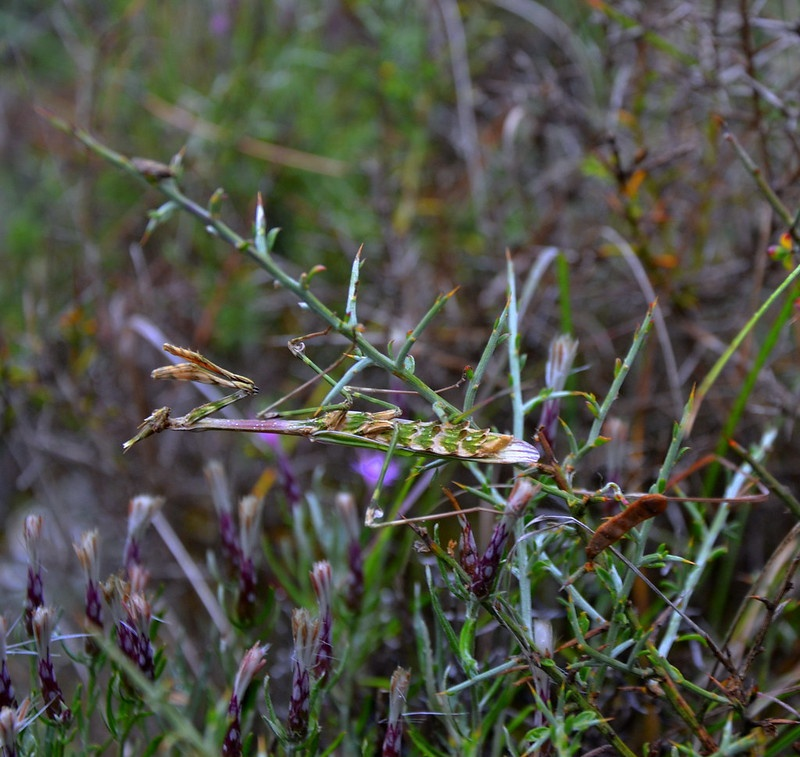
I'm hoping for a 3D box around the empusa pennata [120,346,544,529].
[{"bbox_3d":[-0.024,0.039,0.716,0.321,0.112,0.148,-9,90,3],"label":"empusa pennata"}]
